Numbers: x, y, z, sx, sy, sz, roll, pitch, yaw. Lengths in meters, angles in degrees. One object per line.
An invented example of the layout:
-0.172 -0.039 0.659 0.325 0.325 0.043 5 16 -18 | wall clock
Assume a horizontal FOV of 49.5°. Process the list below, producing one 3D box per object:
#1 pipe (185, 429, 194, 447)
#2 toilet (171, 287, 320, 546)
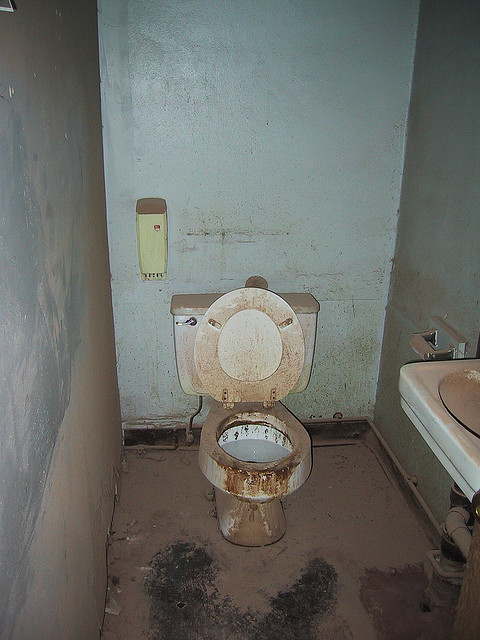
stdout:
-0.230 0.535 2.375 0.033 0.091 0.025 -10 36 -17 | pipe
0.036 0.329 1.836 0.386 0.807 0.639 -3 20 -11 | toilet
